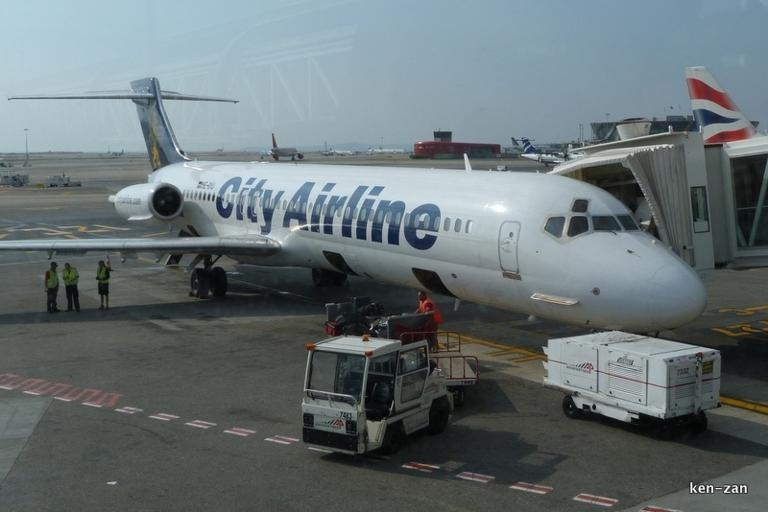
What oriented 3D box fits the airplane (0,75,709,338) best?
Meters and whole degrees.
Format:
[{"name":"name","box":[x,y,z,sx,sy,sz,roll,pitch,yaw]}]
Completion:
[{"name":"airplane","box":[0.771,-0.846,23.687,19.130,4.866,6.107,2,12,34]}]
